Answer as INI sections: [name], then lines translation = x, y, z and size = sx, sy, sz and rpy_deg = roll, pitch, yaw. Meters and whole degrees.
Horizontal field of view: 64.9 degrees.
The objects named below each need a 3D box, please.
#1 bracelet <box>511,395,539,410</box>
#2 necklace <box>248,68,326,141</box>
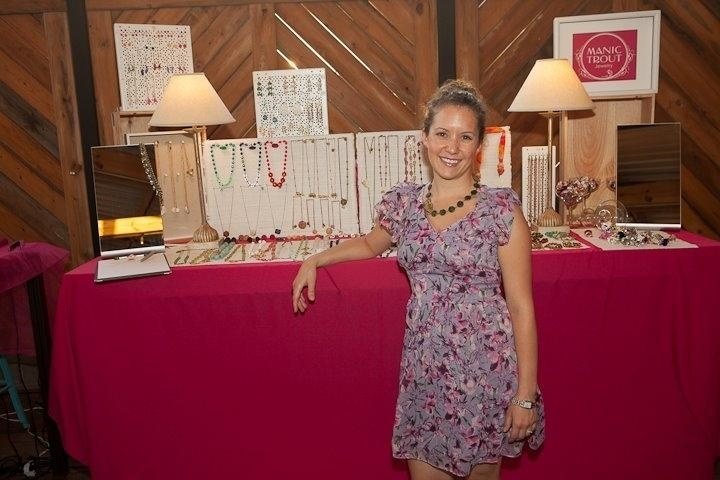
[bracelet]
translation = 0.699, 0.689, 2.386
size = 0.104, 0.050, 0.030
rpy_deg = -4, 5, -8
[necklace]
translation = -0.470, -0.912, 3.816
size = 0.478, 0.574, 0.036
rpy_deg = -3, 5, 2
